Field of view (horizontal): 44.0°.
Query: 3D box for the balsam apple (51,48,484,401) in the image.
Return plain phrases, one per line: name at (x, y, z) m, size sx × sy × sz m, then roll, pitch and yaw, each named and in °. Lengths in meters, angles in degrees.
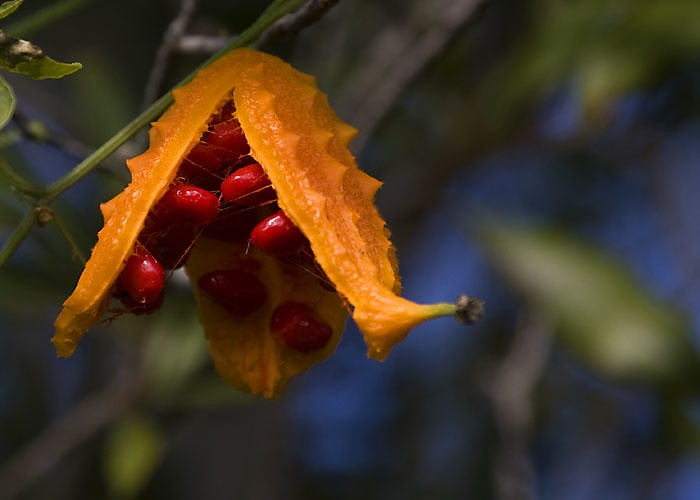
balsam apple at (-0.094, -0.032, 1.128) m, size 0.491 × 0.258 × 0.391 m, roll 10°, pitch 56°, yaw -3°
